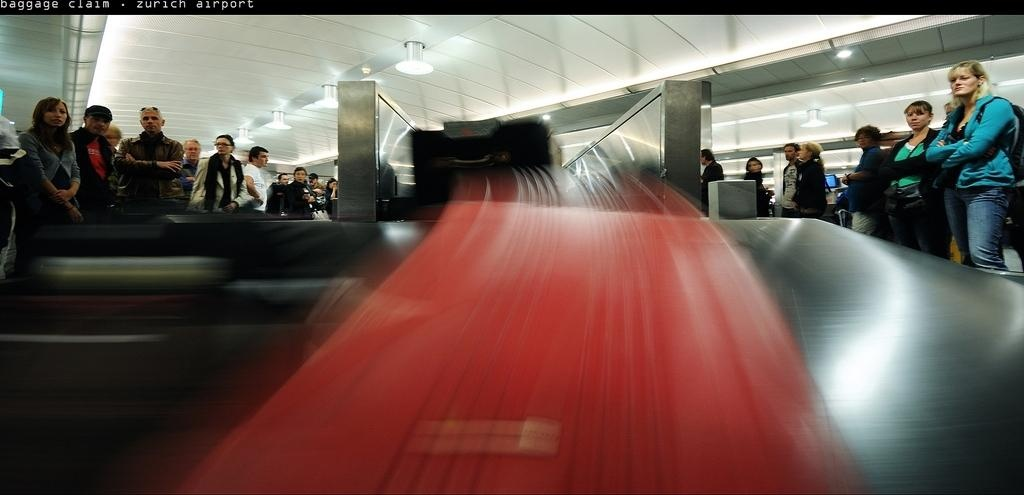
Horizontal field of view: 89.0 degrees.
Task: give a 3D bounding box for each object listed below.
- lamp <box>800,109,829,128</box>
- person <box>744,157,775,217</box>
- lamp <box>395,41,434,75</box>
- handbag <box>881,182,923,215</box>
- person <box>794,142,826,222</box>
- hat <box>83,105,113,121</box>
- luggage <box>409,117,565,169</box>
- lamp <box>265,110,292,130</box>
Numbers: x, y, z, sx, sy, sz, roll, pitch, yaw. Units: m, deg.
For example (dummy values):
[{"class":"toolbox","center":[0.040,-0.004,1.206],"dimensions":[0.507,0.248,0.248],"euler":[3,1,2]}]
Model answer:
[{"class":"lamp","center":[5.771,-2.469,9.998],"dimensions":[0.621,0.311,0.578],"euler":[1,8,22]},{"class":"person","center":[2.942,-0.709,6.272],"dimensions":[0.266,0.736,1.053],"euler":[1,10,24]},{"class":"lamp","center":[-0.836,-1.556,4.230],"dimensions":[0.418,0.209,0.333],"euler":[-2,28,2]},{"class":"handbag","center":[3.085,-0.372,4.179],"dimensions":[0.237,0.224,0.372],"euler":[-3,3,-36]},{"class":"person","center":[3.189,-0.725,5.626],"dimensions":[0.271,0.798,0.351],"euler":[0,12,16]},{"class":"hat","center":[-3.134,-0.997,3.981],"dimensions":[0.139,0.086,0.172],"euler":[6,-18,-40]},{"class":"luggage","center":[-0.218,-0.708,3.603],"dimensions":[1.041,0.330,0.351],"euler":[3,11,27]},{"class":"lamp","center":[-2.320,-1.288,5.273],"dimensions":[0.218,0.097,0.203],"euler":[4,8,23]}]
